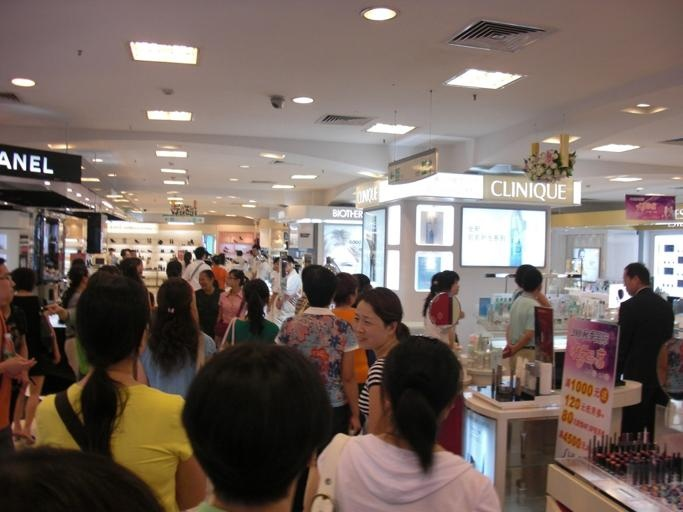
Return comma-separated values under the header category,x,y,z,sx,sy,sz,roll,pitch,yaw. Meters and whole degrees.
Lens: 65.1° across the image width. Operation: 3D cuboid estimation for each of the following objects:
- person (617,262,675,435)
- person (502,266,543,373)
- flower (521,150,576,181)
category,x,y,z,sx,sy,sz,roll,pitch,yaw
person,2.880,0.862,5.065,0.473,1.742,1.014,2,0,32
person,1.797,0.671,5.246,0.434,1.091,1.720,2,0,21
flower,2.591,-1.139,6.715,0.513,0.313,0.540,0,6,10
